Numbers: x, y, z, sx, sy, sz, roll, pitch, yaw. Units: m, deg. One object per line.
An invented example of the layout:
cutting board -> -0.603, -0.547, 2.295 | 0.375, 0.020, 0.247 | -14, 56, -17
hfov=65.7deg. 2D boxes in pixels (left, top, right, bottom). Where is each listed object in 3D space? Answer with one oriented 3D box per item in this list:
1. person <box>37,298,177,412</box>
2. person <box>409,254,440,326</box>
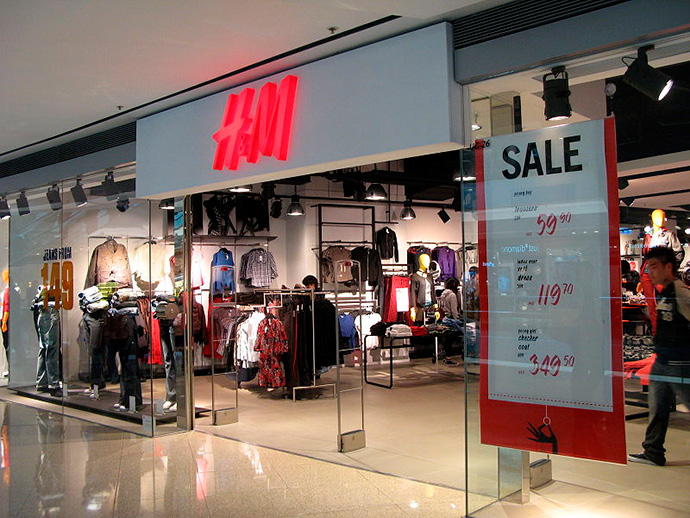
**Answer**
person -> -2.795, 1.142, 6.403 | 1.290, 1.778, 0.501 | -7, -8, 30
person -> 1.529, 0.497, 10.508 | 0.514, 1.468, 0.993 | -2, -3, 11
